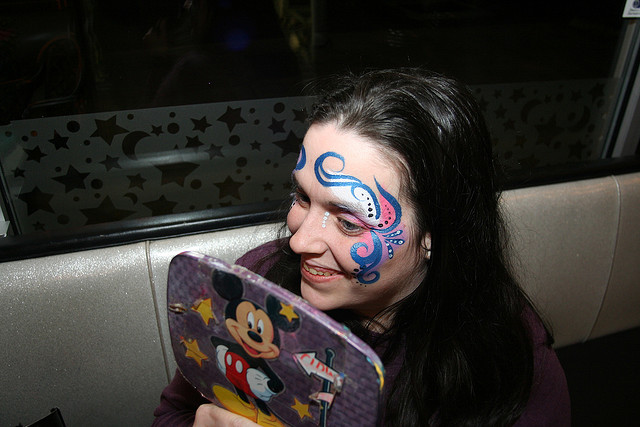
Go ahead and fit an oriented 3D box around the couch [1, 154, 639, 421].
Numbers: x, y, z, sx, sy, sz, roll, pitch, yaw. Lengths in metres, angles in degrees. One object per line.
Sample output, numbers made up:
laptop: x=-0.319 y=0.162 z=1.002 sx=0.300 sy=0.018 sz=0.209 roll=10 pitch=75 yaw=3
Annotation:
couch: x=-0.722 y=0.516 z=3.198 sx=3.026 sy=0.956 sz=1.207 roll=-6 pitch=-11 yaw=-18
